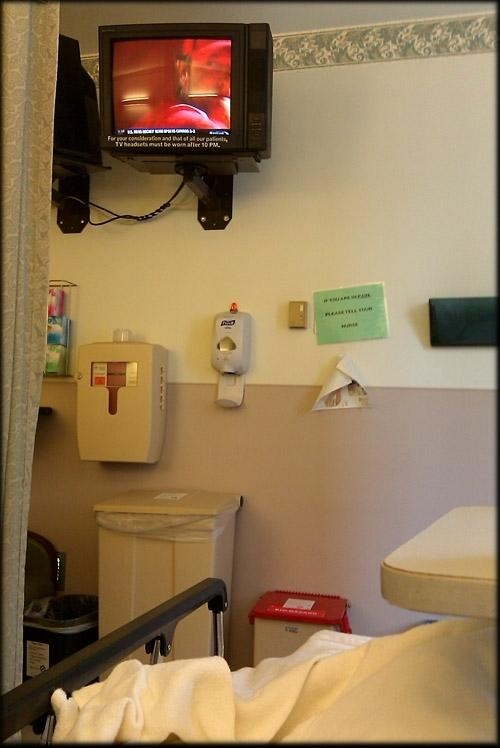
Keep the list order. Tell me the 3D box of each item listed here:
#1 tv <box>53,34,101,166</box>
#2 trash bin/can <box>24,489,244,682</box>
[{"bbox_3d":[-0.696,-1.059,2.515,0.189,0.471,0.325,-7,31,-11],"label":"tv"},{"bbox_3d":[-0.341,0.763,2.776,0.674,1.013,0.654,-2,-3,18],"label":"trash bin/can"}]
